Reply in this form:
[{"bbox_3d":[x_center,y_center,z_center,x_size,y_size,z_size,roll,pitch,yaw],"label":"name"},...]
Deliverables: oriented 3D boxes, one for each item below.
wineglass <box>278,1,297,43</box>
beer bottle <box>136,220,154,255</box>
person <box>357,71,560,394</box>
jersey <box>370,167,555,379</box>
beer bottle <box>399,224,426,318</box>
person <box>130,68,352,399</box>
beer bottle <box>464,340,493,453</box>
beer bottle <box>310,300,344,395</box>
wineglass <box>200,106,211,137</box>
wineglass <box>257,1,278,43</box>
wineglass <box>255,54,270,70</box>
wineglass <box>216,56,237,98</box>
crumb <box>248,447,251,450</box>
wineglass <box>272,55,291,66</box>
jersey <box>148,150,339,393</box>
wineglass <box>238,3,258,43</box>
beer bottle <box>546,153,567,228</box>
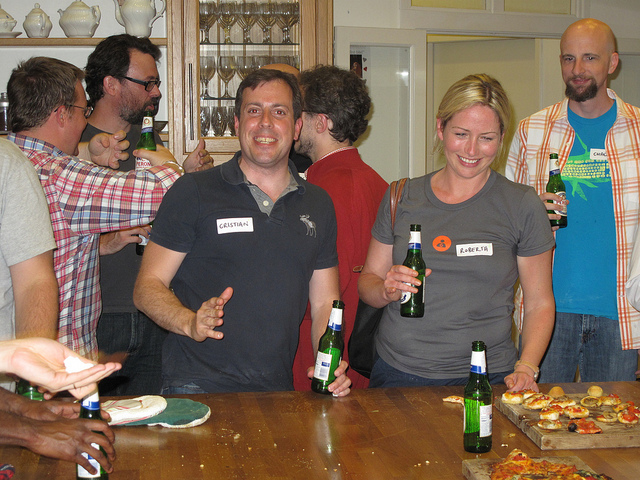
[{"bbox_3d":[-0.226,-1.578,4.036,0.134,0.286,0.046,-2,14,-4],"label":"wineglass"},{"bbox_3d":[-0.870,-0.008,2.868,0.181,0.177,0.044,9,8,32],"label":"beer bottle"},{"bbox_3d":[0.523,-0.012,2.158,0.745,1.221,0.536,5,15,21],"label":"person"},{"bbox_3d":[0.588,0.105,2.306,0.755,0.738,0.445,5,17,39],"label":"jersey"},{"bbox_3d":[0.374,0.118,2.174,0.107,0.362,0.109,1,-2,0],"label":"beer bottle"},{"bbox_3d":[-0.278,-0.032,2.156,0.551,1.217,0.743,10,18,37],"label":"person"},{"bbox_3d":[0.476,0.473,1.693,0.091,0.333,0.086,0,3,0],"label":"beer bottle"},{"bbox_3d":[0.041,0.384,2.027,0.107,0.328,0.104,10,-2,0],"label":"beer bottle"},{"bbox_3d":[-0.810,-0.855,4.008,0.075,0.205,0.029,-6,15,-21],"label":"wineglass"},{"bbox_3d":[-0.368,-1.577,4.036,0.144,0.286,0.050,-2,14,-6],"label":"wineglass"},{"bbox_3d":[-0.412,-1.303,4.059,0.083,0.140,0.110,5,14,13],"label":"wineglass"},{"bbox_3d":[-0.657,-1.174,4.016,0.148,0.288,0.049,-4,15,-14],"label":"wineglass"},{"bbox_3d":[-0.204,0.616,1.646,0.002,0.007,0.007,-1,7,-12],"label":"crumb"},{"bbox_3d":[-0.276,-1.305,4.039,0.126,0.067,0.041,0,14,2],"label":"wineglass"},{"bbox_3d":[-0.279,0.152,2.268,0.805,0.958,0.376,3,2,-14],"label":"jersey"},{"bbox_3d":[-0.508,-1.565,4.025,0.136,0.276,0.052,0,14,2],"label":"wineglass"},{"bbox_3d":[1.114,-0.235,2.658,0.097,0.356,0.094,-4,4,0],"label":"beer bottle"}]
